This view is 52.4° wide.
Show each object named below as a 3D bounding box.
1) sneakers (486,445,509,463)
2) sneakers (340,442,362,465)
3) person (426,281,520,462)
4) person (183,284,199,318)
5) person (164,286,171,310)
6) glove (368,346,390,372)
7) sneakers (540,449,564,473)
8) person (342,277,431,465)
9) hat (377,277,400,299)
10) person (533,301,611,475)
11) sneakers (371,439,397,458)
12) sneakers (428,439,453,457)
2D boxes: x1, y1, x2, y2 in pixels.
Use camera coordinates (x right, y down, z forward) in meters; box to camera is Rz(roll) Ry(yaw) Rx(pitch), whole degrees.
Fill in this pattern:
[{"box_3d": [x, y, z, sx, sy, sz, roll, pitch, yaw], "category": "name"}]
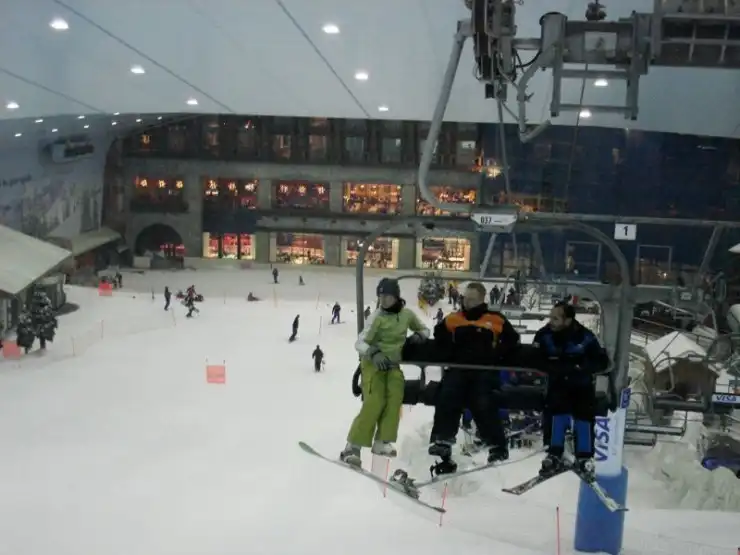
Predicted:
[{"box_3d": [1.675, 2.271, 9.775, 0.181, 0.243, 0.252, -2, 3, 0], "category": "sneakers"}, {"box_3d": [-0.258, 2.274, 9.817, 0.261, 0.297, 0.222, 18, -16, -38], "category": "sneakers"}, {"box_3d": [1.355, 1.295, 9.890, 1.053, 2.502, 0.524, 2, -1, 10], "category": "person"}, {"box_3d": [-6.252, 0.841, 26.348, 0.479, 0.963, 1.662, 2, -1, -13], "category": "person"}, {"box_3d": [-7.251, 0.716, 26.943, 0.242, 0.772, 1.424, 2, -1, -16], "category": "person"}, {"box_3d": [0.116, 1.033, 9.722, 0.300, 0.195, 0.091, 42, -34, 1], "category": "glove"}, {"box_3d": [2.415, 2.386, 10.096, 0.282, 0.304, 0.205, -18, 14, -24], "category": "sneakers"}, {"box_3d": [0.190, 1.217, 9.949, 1.014, 1.780, 0.581, 3, -2, -38], "category": "person"}, {"box_3d": [0.252, 0.133, 10.074, 0.199, 0.268, 0.306, 1, -5, 4], "category": "hat"}, {"box_3d": [2.665, 1.427, 10.181, 0.875, 2.304, 0.744, -2, 16, 22], "category": "person"}, {"box_3d": [0.188, 2.208, 9.781, 0.291, 0.228, 0.168, -6, -7, 38], "category": "sneakers"}, {"box_3d": [0.938, 2.201, 9.817, 0.317, 0.165, 0.246, 2, -1, 5], "category": "sneakers"}]
